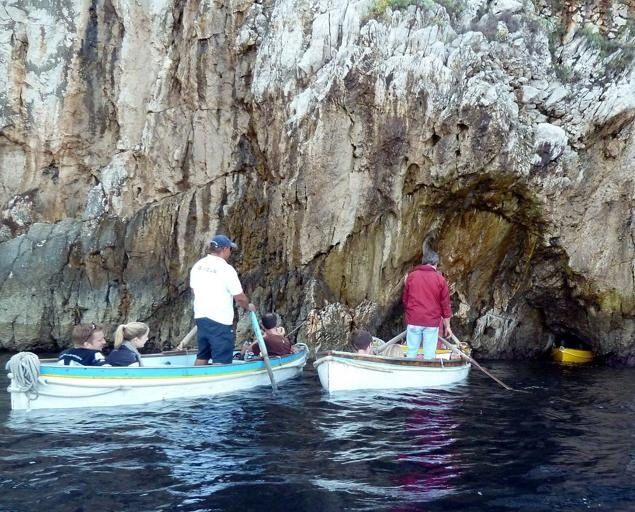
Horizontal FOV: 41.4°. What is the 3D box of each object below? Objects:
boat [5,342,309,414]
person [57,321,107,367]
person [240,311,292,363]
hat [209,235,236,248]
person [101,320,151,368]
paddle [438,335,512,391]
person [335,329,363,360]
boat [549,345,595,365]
[{"bbox_3d":[-2.328,2.206,15.183,6.041,1.210,1.874,2,-9,-22],"label":"boat"},{"bbox_3d":[-3.863,1.604,14.342,0.596,0.814,0.993,-10,-6,-41],"label":"person"},{"bbox_3d":[-0.965,1.434,16.197,0.681,0.985,0.982,-2,19,-7],"label":"person"},{"bbox_3d":[-1.619,-0.234,14.912,0.280,0.190,0.455,14,4,25],"label":"hat"},{"bbox_3d":[-3.282,1.514,14.567,0.684,0.946,0.891,-3,31,-20],"label":"person"},{"bbox_3d":[3.304,2.277,17.687,0.193,0.356,2.413,-16,25,-22],"label":"paddle"},{"bbox_3d":[0.635,1.780,16.710,0.542,0.477,0.751,9,-13,2],"label":"person"},{"bbox_3d":[6.039,2.383,20.089,1.009,0.400,1.121,-3,-6,29],"label":"boat"}]
